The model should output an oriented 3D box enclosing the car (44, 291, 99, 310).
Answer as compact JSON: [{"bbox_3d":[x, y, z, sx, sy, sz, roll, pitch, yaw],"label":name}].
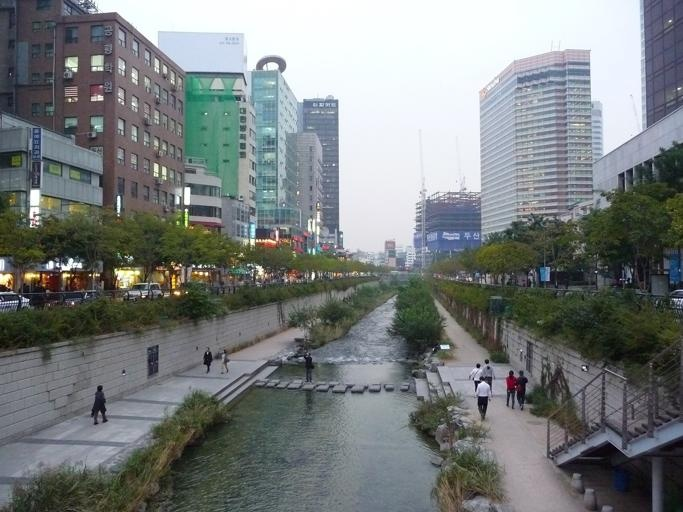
[{"bbox_3d":[-17.385,2.726,41.248,2.253,0.844,5.388,-3,-2,-4],"label":"car"}]

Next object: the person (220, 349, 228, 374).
[{"bbox_3d":[-8.612,7.808,47.605,0.535,1.514,1.918,-2,-1,-10],"label":"person"}]

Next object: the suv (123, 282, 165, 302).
[{"bbox_3d":[-16.904,2.874,54.657,2.186,1.870,3.913,-3,-11,16],"label":"suv"}]

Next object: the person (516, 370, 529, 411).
[{"bbox_3d":[10.690,7.940,38.526,0.562,2.337,1.524,-3,-1,16],"label":"person"}]
